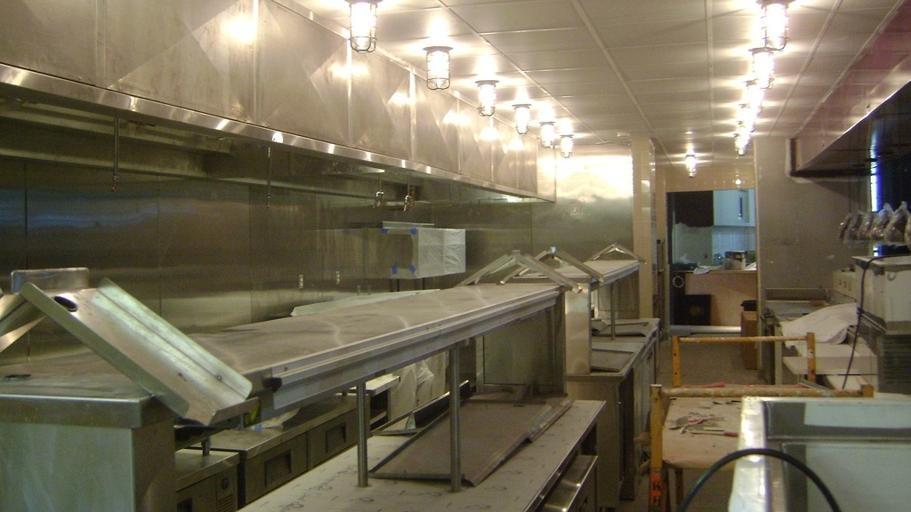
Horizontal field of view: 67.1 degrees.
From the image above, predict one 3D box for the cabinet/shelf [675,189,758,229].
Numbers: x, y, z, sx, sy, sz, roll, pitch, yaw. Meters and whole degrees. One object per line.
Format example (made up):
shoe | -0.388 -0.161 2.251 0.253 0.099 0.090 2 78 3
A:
cabinet/shelf | 5.031 -0.917 13.353 1.663 0.727 0.403 -4 12 -18
